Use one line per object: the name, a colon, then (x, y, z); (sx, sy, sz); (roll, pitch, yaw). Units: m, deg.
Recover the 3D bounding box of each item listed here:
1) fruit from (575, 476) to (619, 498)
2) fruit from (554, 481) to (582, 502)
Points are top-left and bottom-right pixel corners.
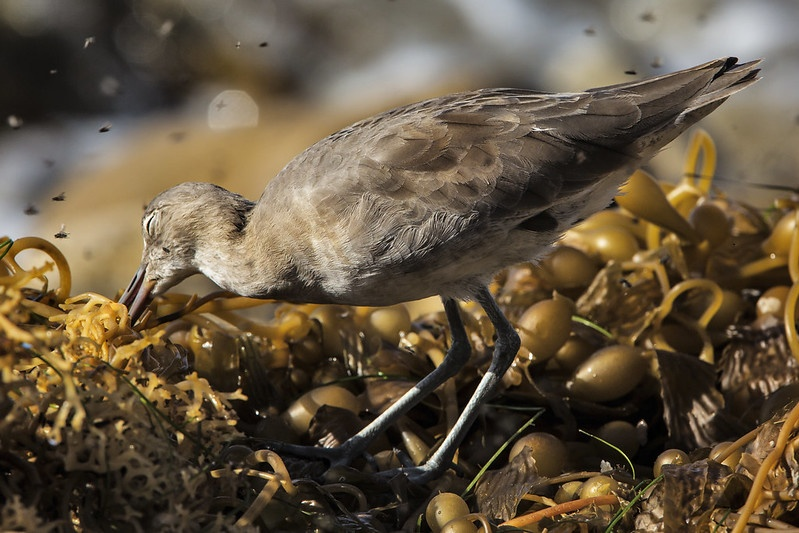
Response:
fruit: (0.242, 0.273, 1.162); (0.033, 0.017, 0.036); (-16, 10, 31)
fruit: (0.215, 0.284, 1.186); (0.022, 0.022, 0.020); (-60, 6, 8)
